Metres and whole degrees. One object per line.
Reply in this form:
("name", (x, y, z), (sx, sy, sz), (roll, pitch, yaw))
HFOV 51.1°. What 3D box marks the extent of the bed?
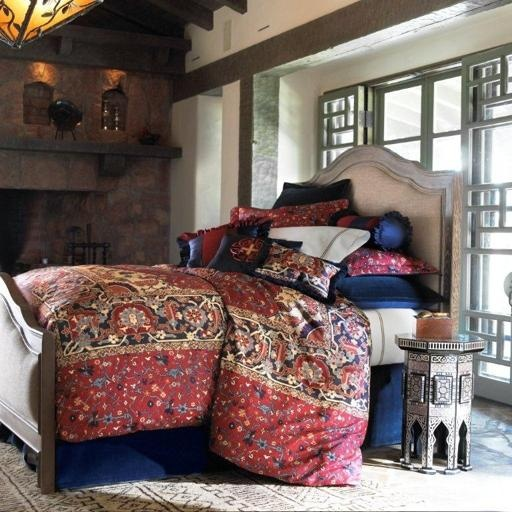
("bed", (-0.091, 0.060, 2.950), (2.538, 1.200, 1.632), (-3, 3, -29))
